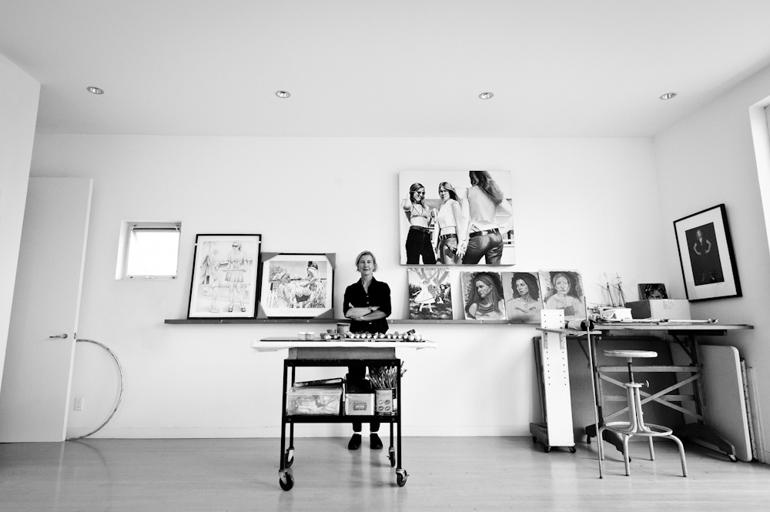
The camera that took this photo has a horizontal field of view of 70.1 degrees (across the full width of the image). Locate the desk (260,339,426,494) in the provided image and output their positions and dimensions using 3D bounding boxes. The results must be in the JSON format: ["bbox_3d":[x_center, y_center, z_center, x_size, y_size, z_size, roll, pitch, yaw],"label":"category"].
[{"bbox_3d":[-0.366,1.509,6.013,1.960,1.377,1.488,0,-14,0],"label":"desk"}]

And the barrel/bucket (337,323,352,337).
[{"bbox_3d":[-0.426,0.761,5.686,0.127,0.089,0.123,1,-1,0],"label":"barrel/bucket"}]

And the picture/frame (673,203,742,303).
[{"bbox_3d":[4.006,-0.037,6.813,0.142,1.223,0.869,-1,3,-18],"label":"picture/frame"}]

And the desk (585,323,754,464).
[{"bbox_3d":[3.214,1.621,6.694,2.031,1.541,1.580,0,-6,0],"label":"desk"}]

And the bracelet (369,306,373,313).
[{"bbox_3d":[-0.161,0.609,6.358,0.047,0.029,0.046,9,15,-2],"label":"bracelet"}]

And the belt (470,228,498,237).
[{"bbox_3d":[1.333,-0.329,7.319,0.398,0.110,0.041,-1,3,-9],"label":"belt"}]

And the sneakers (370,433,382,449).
[{"bbox_3d":[-0.108,2.182,6.467,0.200,0.177,0.117,3,-7,-23],"label":"sneakers"}]
